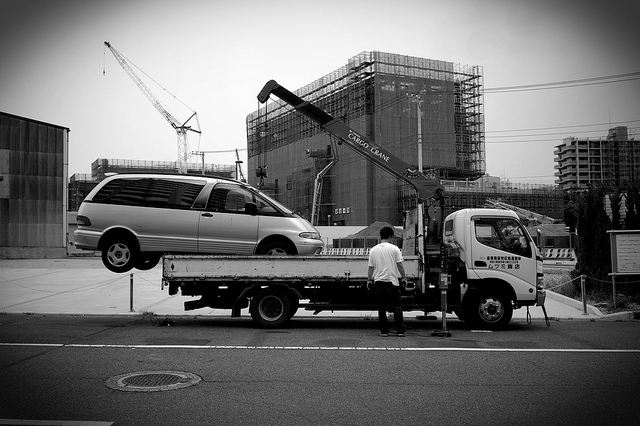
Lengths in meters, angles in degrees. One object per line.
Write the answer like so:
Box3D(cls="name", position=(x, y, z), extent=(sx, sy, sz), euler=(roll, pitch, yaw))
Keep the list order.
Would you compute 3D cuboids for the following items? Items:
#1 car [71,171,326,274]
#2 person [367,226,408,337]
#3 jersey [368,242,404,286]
Box3D(cls="car", position=(-3.475, 0.295, 19.613), extent=(6.795, 2.682, 2.168), euler=(3, -1, -5))
Box3D(cls="person", position=(1.728, 1.785, 17.066), extent=(0.966, 2.842, 0.748), euler=(0, 1, 4))
Box3D(cls="jersey", position=(1.688, 1.379, 17.064), extent=(1.143, 1.305, 0.542), euler=(-1, 4, 15))
